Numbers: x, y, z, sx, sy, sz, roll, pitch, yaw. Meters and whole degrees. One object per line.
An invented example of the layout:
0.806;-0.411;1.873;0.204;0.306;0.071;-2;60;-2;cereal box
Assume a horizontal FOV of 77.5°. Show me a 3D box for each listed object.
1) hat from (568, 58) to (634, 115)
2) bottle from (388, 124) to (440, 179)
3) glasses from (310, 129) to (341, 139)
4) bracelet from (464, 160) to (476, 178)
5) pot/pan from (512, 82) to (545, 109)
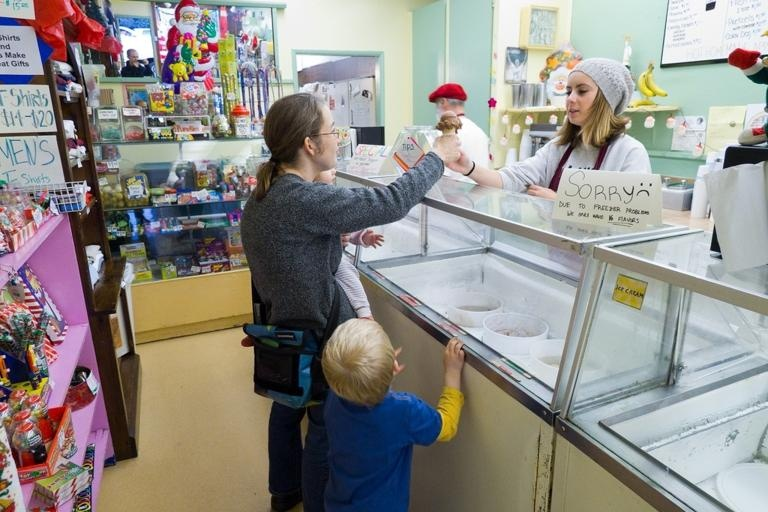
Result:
1.055;-0.816;2.321;0.290;0.262;0.161;0;20;9;hat
0.162;-0.493;2.311;0.271;0.255;0.264;12;19;36;bottle
-0.235;-0.497;1.944;0.134;0.036;0.127;-1;11;6;glasses
0.418;-0.417;2.289;0.017;0.060;0.061;27;33;24;bracelet
1.378;-1.574;4.667;0.282;0.215;0.221;-3;18;-7;pot/pan
